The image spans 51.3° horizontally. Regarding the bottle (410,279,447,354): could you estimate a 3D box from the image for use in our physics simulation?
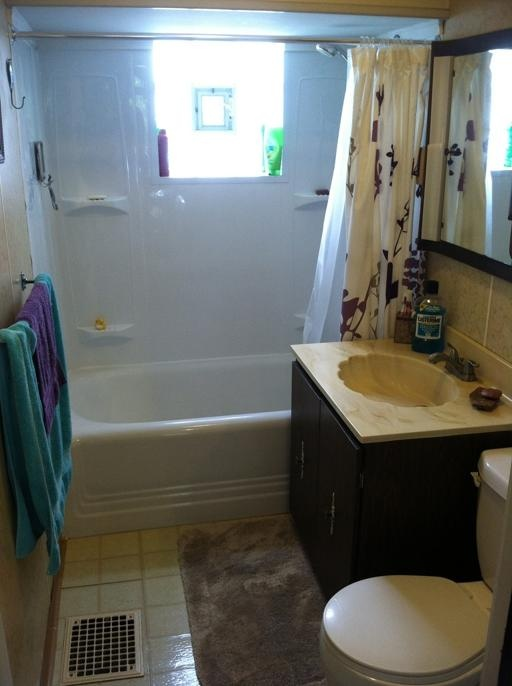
[{"bbox_3d":[0.605,-0.098,1.850,0.107,0.240,0.179,4,11,20],"label":"bottle"}]

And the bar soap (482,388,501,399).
[{"bbox_3d":[0.613,0.128,1.382,0.024,0.022,0.036,-7,13,3],"label":"bar soap"}]

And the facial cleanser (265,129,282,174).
[{"bbox_3d":[0.100,-1.048,2.937,0.097,0.236,0.084,1,9,1],"label":"facial cleanser"}]

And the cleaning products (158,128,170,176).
[{"bbox_3d":[-0.477,-0.990,2.802,0.049,0.237,0.095,7,12,36],"label":"cleaning products"}]
